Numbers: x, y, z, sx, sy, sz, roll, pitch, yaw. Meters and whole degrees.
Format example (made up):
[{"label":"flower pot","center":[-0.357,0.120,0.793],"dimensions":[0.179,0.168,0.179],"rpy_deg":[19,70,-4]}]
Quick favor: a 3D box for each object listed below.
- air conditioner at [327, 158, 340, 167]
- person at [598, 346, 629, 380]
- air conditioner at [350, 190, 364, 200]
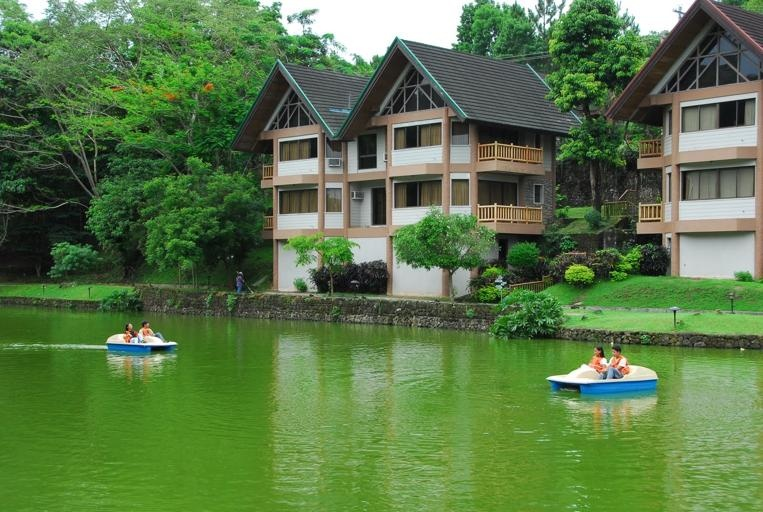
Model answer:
[{"label":"air conditioner","center":[-3.590,-7.145,63.401],"dimensions":[1.064,0.752,0.585],"rpy_deg":[2,9,5]},{"label":"person","center":[9.575,4.450,33.840],"dimensions":[1.133,1.590,0.817],"rpy_deg":[17,-20,-12]},{"label":"air conditioner","center":[-1.856,-4.688,64.085],"dimensions":[0.574,0.678,1.029],"rpy_deg":[3,1,40]}]
